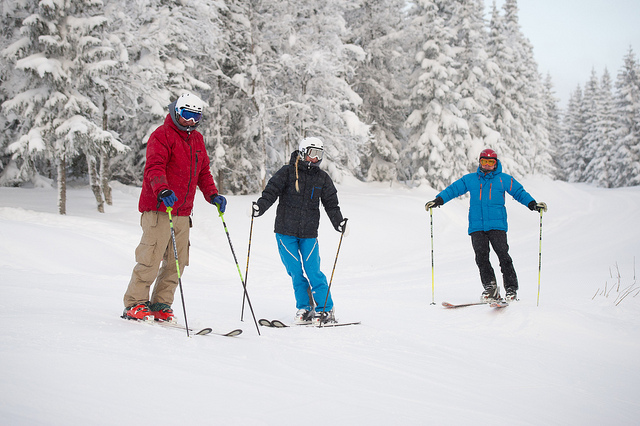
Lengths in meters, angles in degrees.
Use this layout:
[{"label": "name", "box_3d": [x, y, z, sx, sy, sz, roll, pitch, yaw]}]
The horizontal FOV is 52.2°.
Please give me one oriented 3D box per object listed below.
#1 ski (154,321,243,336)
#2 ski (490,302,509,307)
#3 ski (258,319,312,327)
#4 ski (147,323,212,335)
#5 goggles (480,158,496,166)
[{"label": "ski", "box_3d": [-2.484, 2.264, 12.933, 1.219, 0.111, 0.127, 10, 0, -9]}, {"label": "ski", "box_3d": [3.999, 2.003, 14.569, 0.405, 0.111, 0.113, -1, -1, 15]}, {"label": "ski", "box_3d": [-0.773, 2.262, 13.726, 1.021, 0.136, 0.242, 0, -1, -7]}, {"label": "ski", "box_3d": [-2.808, 2.244, 12.791, 0.747, 0.118, 0.091, 9, 37, -1]}, {"label": "goggles", "box_3d": [3.910, -1.197, 15.199, 0.341, 0.175, 0.126, -1, -1, 13]}]
